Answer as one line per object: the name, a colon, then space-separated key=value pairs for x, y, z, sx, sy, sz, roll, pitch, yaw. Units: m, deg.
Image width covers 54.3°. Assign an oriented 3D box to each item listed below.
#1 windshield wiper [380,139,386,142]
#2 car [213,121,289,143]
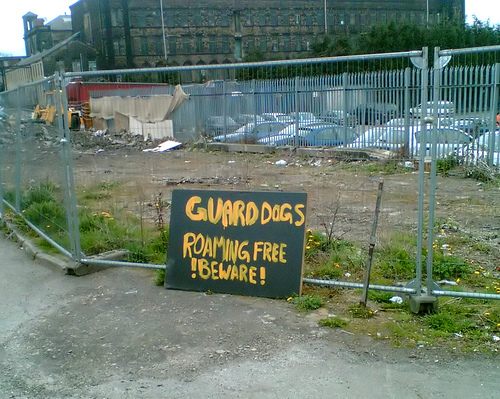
windshield wiper: x=4.502 y=-2.010 z=16.504 sx=0.071 sy=0.072 sz=0.237 roll=-14 pitch=17 yaw=-41
car: x=0.201 y=-2.658 z=21.027 sx=2.611 sy=0.940 sz=1.247 roll=0 pitch=15 yaw=16
